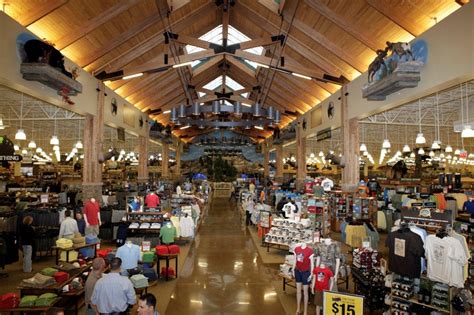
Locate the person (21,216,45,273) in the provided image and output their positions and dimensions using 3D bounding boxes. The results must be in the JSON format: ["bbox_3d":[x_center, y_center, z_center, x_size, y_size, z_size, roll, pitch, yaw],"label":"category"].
[{"bbox_3d":[-6.913,2.845,10.996,0.448,1.811,0.874,4,-7,-31],"label":"person"}]

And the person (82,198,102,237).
[{"bbox_3d":[-5.575,2.558,12.808,0.402,1.853,0.648,-3,-2,39],"label":"person"}]

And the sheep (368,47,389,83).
[{"bbox_3d":[4.918,-3.339,11.740,0.459,1.179,1.403,0,-6,8],"label":"sheep"}]

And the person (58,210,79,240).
[{"bbox_3d":[-5.465,2.168,10.847,0.553,0.877,0.443,3,-7,-26],"label":"person"}]
